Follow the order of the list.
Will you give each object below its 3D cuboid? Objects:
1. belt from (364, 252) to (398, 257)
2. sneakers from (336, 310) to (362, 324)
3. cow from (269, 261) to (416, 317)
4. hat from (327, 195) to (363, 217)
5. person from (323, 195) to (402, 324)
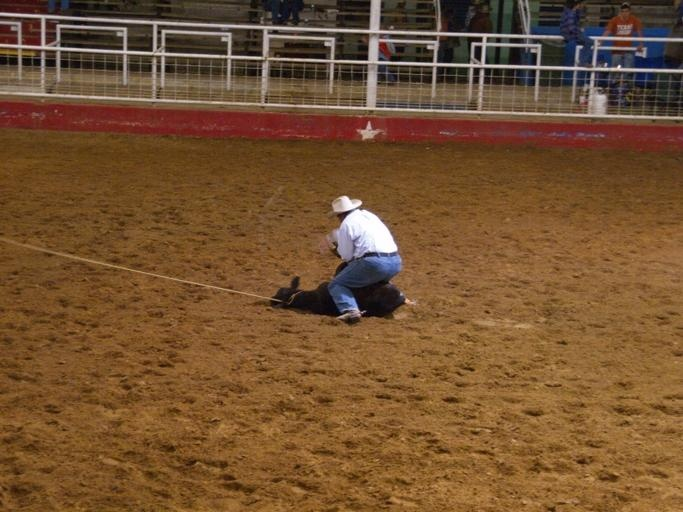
[{"bbox_3d":[0.452,-0.027,9.010,0.395,0.050,0.113,-2,7,-34],"label":"belt"},{"bbox_3d":[0.082,0.666,8.966,0.261,0.139,0.147,2,7,0],"label":"sneakers"},{"bbox_3d":[-0.099,0.536,9.348,1.516,0.325,0.603,-4,42,-31],"label":"cow"},{"bbox_3d":[-0.032,-0.566,9.192,0.454,0.116,0.343,-5,15,40],"label":"hat"},{"bbox_3d":[0.158,0.030,9.054,0.829,1.374,0.541,7,10,16],"label":"person"}]
